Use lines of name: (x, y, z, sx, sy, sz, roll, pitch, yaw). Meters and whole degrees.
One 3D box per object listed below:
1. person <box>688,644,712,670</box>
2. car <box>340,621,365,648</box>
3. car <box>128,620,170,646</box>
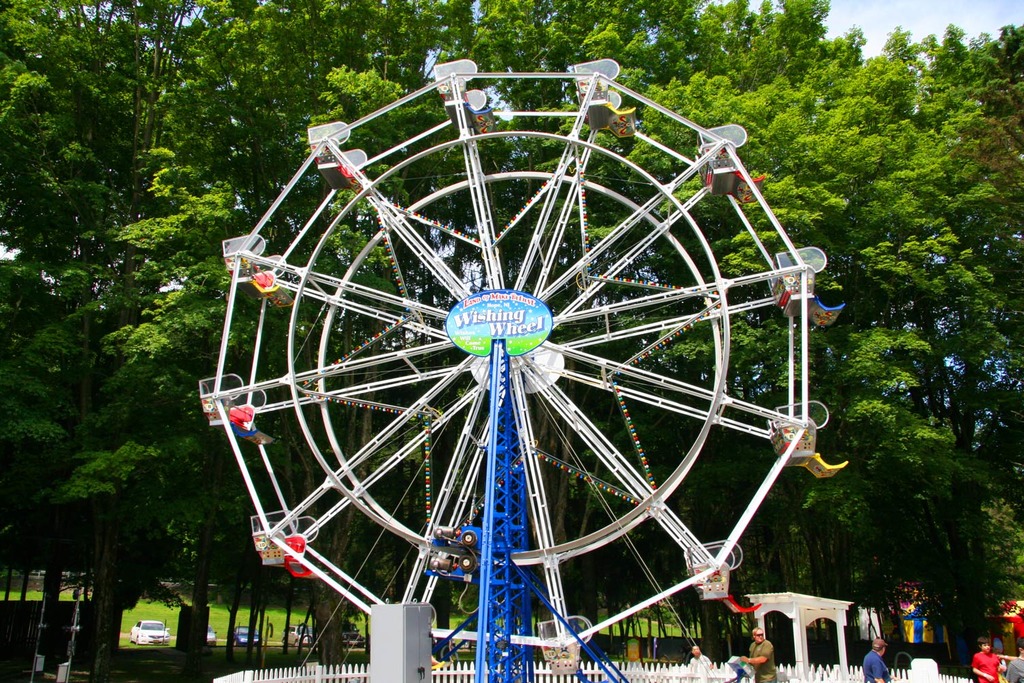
person: (6.039, 10.203, 33.720, 0.656, 0.793, 0.909, -3, -19, 11)
car: (-9.337, 17.254, 61.400, 1.015, 1.399, 7.626, 3, -18, -7)
car: (-21.503, 17.192, 61.654, 1.248, 0.919, 2.636, 10, -27, -29)
